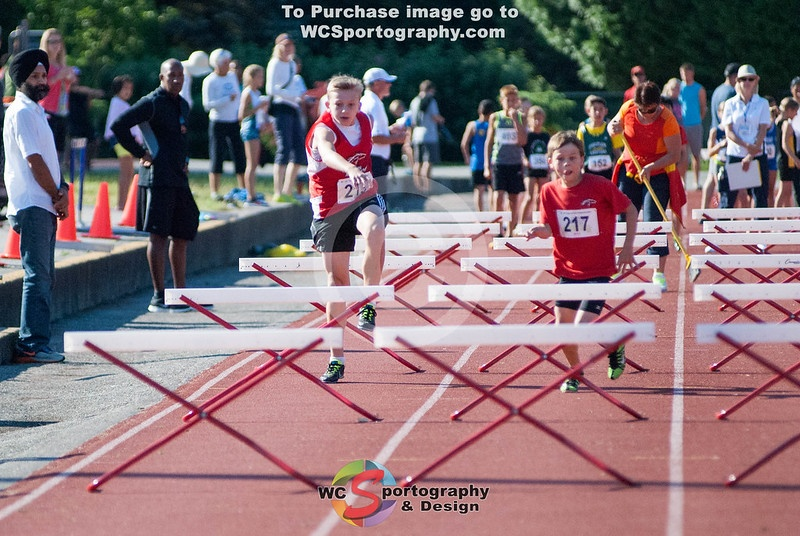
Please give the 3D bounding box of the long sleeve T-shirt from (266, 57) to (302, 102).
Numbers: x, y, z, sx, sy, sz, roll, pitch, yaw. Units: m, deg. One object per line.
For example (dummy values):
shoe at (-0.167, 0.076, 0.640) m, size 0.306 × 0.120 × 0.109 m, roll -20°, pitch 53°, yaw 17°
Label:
long sleeve T-shirt at (-1.857, -2.937, 19.947) m, size 0.457 × 0.746 × 0.783 m, roll -2°, pitch 8°, yaw 20°

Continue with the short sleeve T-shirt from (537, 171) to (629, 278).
short sleeve T-shirt at (1.838, -0.413, 12.668) m, size 0.955 × 1.072 × 0.465 m, roll -1°, pitch 5°, yaw 30°

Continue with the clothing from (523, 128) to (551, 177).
clothing at (2.130, -1.797, 19.573) m, size 0.474 × 0.763 × 0.499 m, roll -10°, pitch 20°, yaw -19°

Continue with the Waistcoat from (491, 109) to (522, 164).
Waistcoat at (1.785, -1.995, 19.335) m, size 0.568 × 0.903 × 0.506 m, roll 1°, pitch 6°, yaw 44°

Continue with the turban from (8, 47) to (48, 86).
turban at (-3.948, -2.096, 13.356) m, size 0.396 × 0.384 × 0.222 m, roll -4°, pitch 12°, yaw -18°

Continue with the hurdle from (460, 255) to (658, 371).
hurdle at (1.997, 0.287, 13.935) m, size 1.125 × 0.964 × 2.060 m, roll -22°, pitch -12°, yaw 24°

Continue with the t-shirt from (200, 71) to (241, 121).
t-shirt at (-2.728, -2.618, 19.403) m, size 0.492 × 0.766 × 0.797 m, roll 9°, pitch 20°, yaw 29°

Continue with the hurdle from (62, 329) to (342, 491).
hurdle at (-1.719, 1.177, 11.256) m, size 2.291 × 1.484 × 0.957 m, roll -1°, pitch 11°, yaw -3°

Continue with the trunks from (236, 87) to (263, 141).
trunks at (-2.409, -2.403, 19.849) m, size 0.341 × 0.316 × 1.028 m, roll -1°, pitch -35°, yaw 0°

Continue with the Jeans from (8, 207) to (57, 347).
Jeans at (-3.893, 0.097, 13.478) m, size 0.442 × 1.491 × 0.321 m, roll -3°, pitch 11°, yaw -14°

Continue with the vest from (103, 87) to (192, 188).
vest at (-2.932, -1.545, 15.282) m, size 0.632 × 1.169 × 1.292 m, roll 5°, pitch 4°, yaw 28°

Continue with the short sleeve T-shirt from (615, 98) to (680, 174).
short sleeve T-shirt at (2.955, -1.541, 15.128) m, size 0.470 × 0.742 × 0.861 m, roll -22°, pitch 32°, yaw -34°

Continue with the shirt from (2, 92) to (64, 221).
shirt at (-3.922, -1.189, 13.365) m, size 0.568 × 1.293 × 0.406 m, roll -4°, pitch 12°, yaw -16°

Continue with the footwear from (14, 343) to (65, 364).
footwear at (-3.904, 0.926, 13.608) m, size 0.581 × 0.285 × 0.201 m, roll 1°, pitch -1°, yaw -5°

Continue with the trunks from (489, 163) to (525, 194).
trunks at (1.612, -1.350, 19.478) m, size 0.615 × 0.544 × 0.376 m, roll -1°, pitch 4°, yaw -15°

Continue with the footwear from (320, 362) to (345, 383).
footwear at (-0.692, 1.068, 12.882) m, size 0.123 × 0.158 × 0.360 m, roll 0°, pitch -4°, yaw 17°

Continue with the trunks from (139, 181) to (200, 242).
trunks at (-3.000, -0.687, 15.291) m, size 0.429 × 0.716 × 0.753 m, roll -7°, pitch -9°, yaw 20°

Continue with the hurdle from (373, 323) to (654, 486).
hurdle at (0.969, 1.092, 11.389) m, size 2.368 × 1.446 × 1.255 m, roll -1°, pitch 11°, yaw -4°

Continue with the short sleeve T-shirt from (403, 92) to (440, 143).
short sleeve T-shirt at (0.452, -3.262, 28.014) m, size 0.903 × 1.129 × 0.520 m, roll 2°, pitch -3°, yaw 41°
